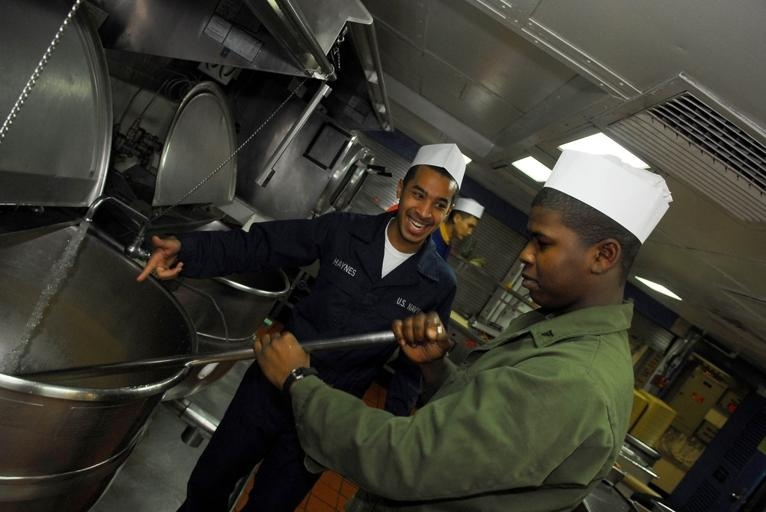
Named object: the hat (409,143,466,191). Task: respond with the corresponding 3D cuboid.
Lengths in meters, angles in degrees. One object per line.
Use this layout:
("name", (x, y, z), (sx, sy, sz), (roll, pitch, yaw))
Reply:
("hat", (0.270, -0.411, 2.033), (0.225, 0.149, 0.238), (11, 11, 35))

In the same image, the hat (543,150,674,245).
("hat", (0.684, -0.186, 1.323), (0.361, 0.195, 0.286), (32, -2, 4))
